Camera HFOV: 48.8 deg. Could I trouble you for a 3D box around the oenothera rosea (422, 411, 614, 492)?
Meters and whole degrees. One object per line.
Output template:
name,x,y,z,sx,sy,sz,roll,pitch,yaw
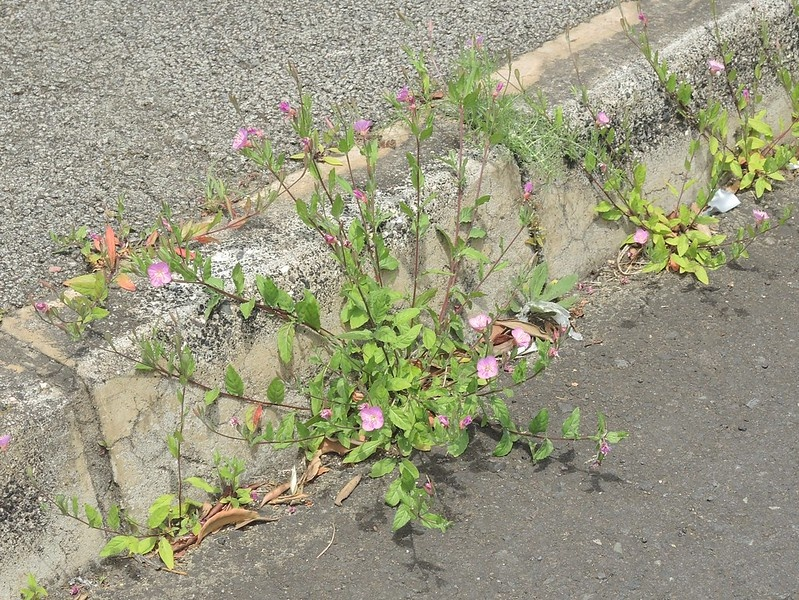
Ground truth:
oenothera rosea,0.547,0.597,3.914,0.820,0.307,0.296,7,18,13

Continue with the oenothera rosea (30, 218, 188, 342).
oenothera rosea,-1.362,-0.039,3.897,0.553,0.238,0.560,21,52,-18

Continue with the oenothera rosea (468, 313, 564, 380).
oenothera rosea,0.515,0.189,4.240,0.334,0.162,0.329,-3,14,-24
